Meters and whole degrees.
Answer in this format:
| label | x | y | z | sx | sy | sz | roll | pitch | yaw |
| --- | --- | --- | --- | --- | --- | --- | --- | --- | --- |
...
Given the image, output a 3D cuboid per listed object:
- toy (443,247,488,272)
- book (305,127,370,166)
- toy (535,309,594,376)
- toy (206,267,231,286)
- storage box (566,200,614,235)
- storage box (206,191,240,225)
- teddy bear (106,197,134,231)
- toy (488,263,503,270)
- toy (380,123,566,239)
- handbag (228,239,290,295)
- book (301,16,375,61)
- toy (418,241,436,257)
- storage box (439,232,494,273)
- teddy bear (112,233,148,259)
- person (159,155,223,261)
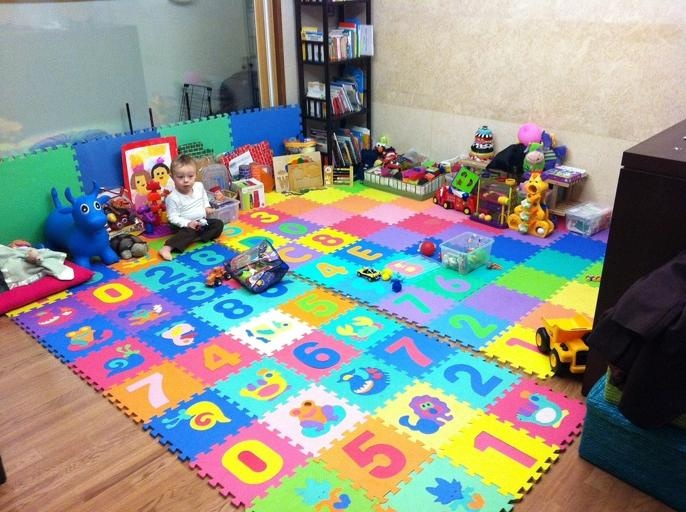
| label | x | y | z | sx | sy | sz | roll | pitch | yaw |
| --- | --- | --- | --- | --- | --- | --- | --- | --- | --- |
| toy | 1.010 | 0.027 | 3.996 | 0.277 | 0.114 | 0.187 | -17 | 27 | -39 |
| book | 0.016 | -1.321 | 5.809 | 0.462 | 0.201 | 0.606 | 22 | 32 | 32 |
| toy | 1.329 | 0.515 | 2.996 | 0.275 | 0.270 | 0.455 | -4 | 20 | -6 |
| toy | -1.008 | 0.167 | 3.928 | 0.108 | 0.095 | 0.188 | 6 | 26 | 12 |
| storage box | 2.253 | -0.428 | 4.484 | 0.392 | 0.190 | 0.278 | -21 | 32 | -32 |
| storage box | -1.191 | -0.490 | 4.865 | 0.237 | 0.138 | 0.356 | -26 | 37 | -31 |
| teddy bear | -2.065 | -0.398 | 4.530 | 0.226 | 0.301 | 0.130 | -11 | -3 | -35 |
| toy | 1.242 | 0.082 | 4.013 | 0.070 | 0.019 | 0.054 | 9 | 24 | 24 |
| toy | 1.527 | -0.715 | 4.832 | 0.898 | 0.481 | 1.291 | -27 | 39 | -32 |
| handbag | -0.688 | 0.065 | 3.889 | 0.357 | 0.261 | 0.407 | -23 | 33 | -35 |
| book | -0.112 | -2.541 | 5.513 | 0.610 | 0.263 | 0.610 | -27 | 38 | -37 |
| toy | 0.719 | -0.064 | 4.211 | 0.123 | 0.128 | 0.129 | 5 | 24 | 5 |
| storage box | 1.054 | -0.060 | 4.063 | 0.435 | 0.196 | 0.291 | -25 | 37 | -37 |
| teddy bear | -1.882 | -0.101 | 4.311 | 0.198 | 0.100 | 0.278 | 21 | 19 | 17 |
| person | -1.439 | -0.470 | 4.401 | 0.654 | 0.750 | 0.493 | -20 | 31 | -31 |
